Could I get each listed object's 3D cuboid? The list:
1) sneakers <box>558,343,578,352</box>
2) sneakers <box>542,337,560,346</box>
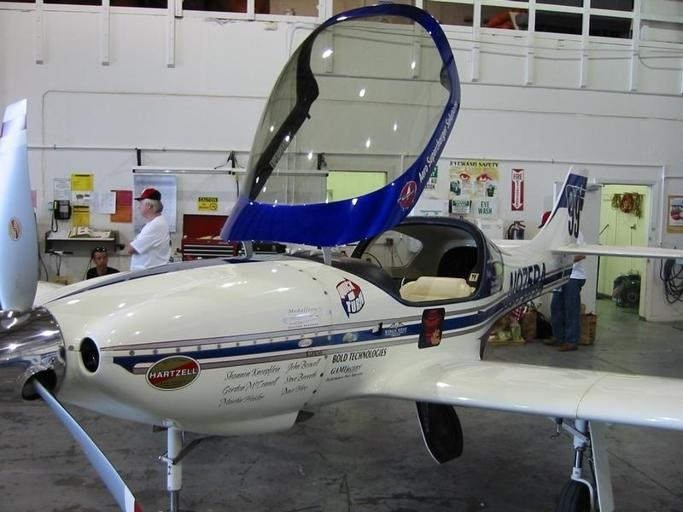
[{"bbox_3d":[2.578,1.041,8.054,0.250,0.098,0.083,3,2,-19],"label":"sneakers"},{"bbox_3d":[2.483,1.012,8.329,0.196,0.084,0.073,1,0,32],"label":"sneakers"}]
